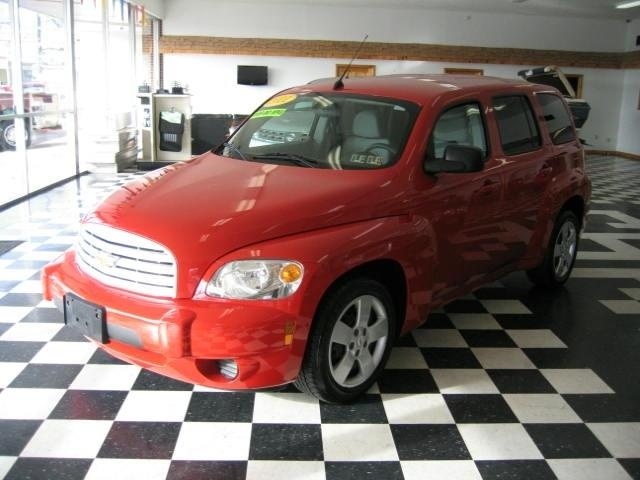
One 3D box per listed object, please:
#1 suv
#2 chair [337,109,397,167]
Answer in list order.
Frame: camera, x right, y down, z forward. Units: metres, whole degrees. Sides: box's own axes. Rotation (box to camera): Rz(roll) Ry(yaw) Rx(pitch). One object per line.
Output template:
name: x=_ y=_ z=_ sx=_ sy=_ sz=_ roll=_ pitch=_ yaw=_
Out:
suv: x=0.350 y=-0.137 z=3.069 sx=3.498 sy=0.999 sz=1.848 roll=-8 pitch=12 yaw=-38
chair: x=0.282 y=-0.545 z=2.529 sx=0.356 sy=0.261 sz=0.244 roll=6 pitch=40 yaw=-19
